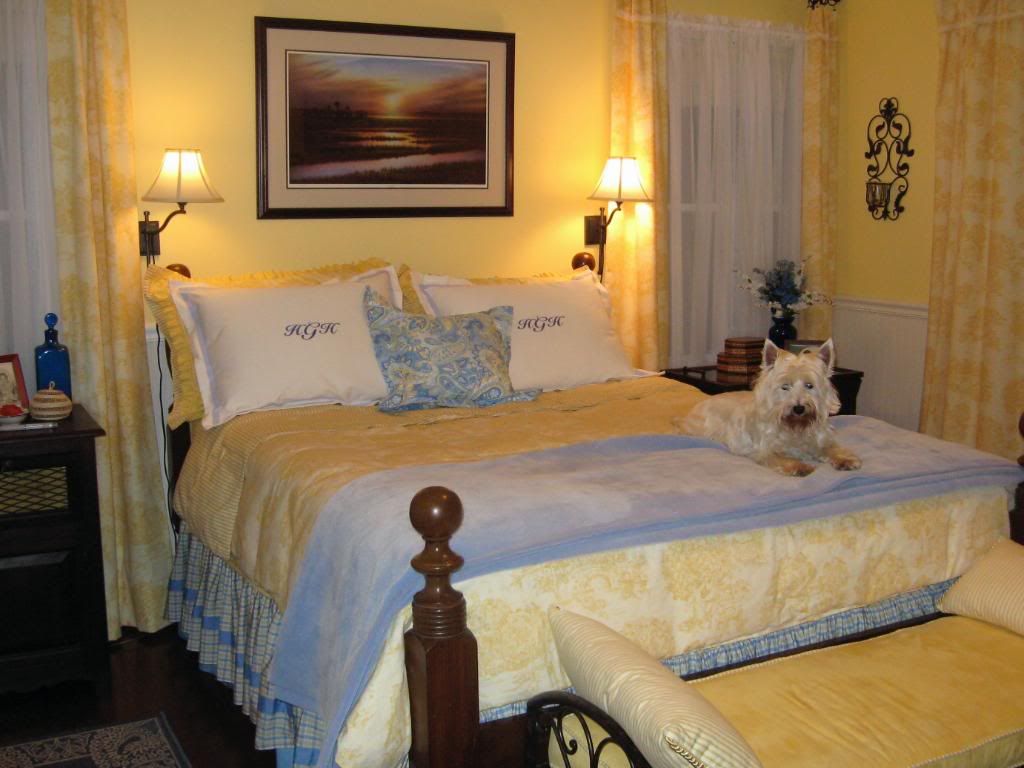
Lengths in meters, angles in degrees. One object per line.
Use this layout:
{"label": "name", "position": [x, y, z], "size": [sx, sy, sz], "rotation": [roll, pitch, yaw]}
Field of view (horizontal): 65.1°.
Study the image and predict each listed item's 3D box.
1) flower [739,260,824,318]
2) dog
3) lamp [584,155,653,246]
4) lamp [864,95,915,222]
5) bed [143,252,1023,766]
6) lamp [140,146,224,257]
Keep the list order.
{"label": "flower", "position": [1.602, -0.676, 4.839], "size": [0.431, 0.395, 0.394], "rotation": [6, 17, 27]}
{"label": "dog", "position": [0.908, 0.045, 2.882], "size": [0.306, 0.465, 0.763], "rotation": [-9, 12, -14]}
{"label": "lamp", "position": [0.541, -1.006, 4.367], "size": [0.364, 0.545, 0.363], "rotation": [-4, 8, -18]}
{"label": "lamp", "position": [2.248, -1.356, 4.829], "size": [0.084, 0.730, 0.344], "rotation": [-6, 14, -21]}
{"label": "bed", "position": [-0.162, 0.360, 2.648], "size": [1.601, 0.760, 1.645], "rotation": [-8, 16, -29]}
{"label": "lamp", "position": [-1.487, -0.765, 3.634], "size": [0.367, 0.581, 0.362], "rotation": [1, 17, -4]}
